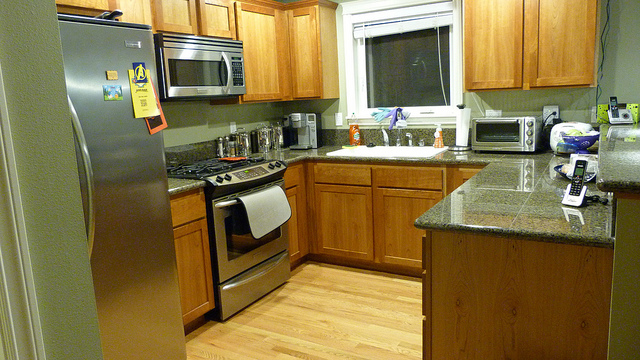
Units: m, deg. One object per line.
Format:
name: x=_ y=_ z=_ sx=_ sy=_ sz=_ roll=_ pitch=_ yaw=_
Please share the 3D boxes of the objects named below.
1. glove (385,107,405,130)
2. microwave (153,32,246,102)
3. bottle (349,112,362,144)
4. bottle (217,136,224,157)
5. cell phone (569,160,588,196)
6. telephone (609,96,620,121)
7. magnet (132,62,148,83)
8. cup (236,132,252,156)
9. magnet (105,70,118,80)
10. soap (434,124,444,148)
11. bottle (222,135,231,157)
glove: x=0.789 y=-0.641 z=4.487 sx=0.202 sy=0.198 sz=0.087 roll=-13 pitch=-8 yaw=11
microwave: x=-1.019 y=-0.950 z=3.633 sx=0.613 sy=0.529 sz=0.954 roll=8 pitch=12 yaw=36
bottle: x=0.385 y=-0.566 z=4.688 sx=0.129 sy=0.343 sz=0.188 roll=-4 pitch=14 yaw=5
bottle: x=-0.993 y=-0.328 z=4.240 sx=0.069 sy=0.183 sz=0.107 roll=-5 pitch=14 yaw=-2
cell phone: x=1.468 y=-0.018 z=2.433 sx=0.071 sy=0.179 sz=0.152 roll=5 pitch=16 yaw=34
telephone: x=2.590 y=-0.625 z=3.757 sx=0.075 sy=0.200 sz=0.086 roll=0 pitch=15 yaw=20
magnet: x=-1.140 y=-0.681 z=2.707 sx=0.032 sy=0.125 sz=0.092 roll=4 pitch=16 yaw=33
cup: x=-0.790 y=-0.373 z=4.358 sx=0.127 sy=0.221 sz=0.106 roll=-3 pitch=14 yaw=6
magnet: x=-1.259 y=-0.637 z=2.585 sx=0.019 sy=0.057 sz=0.069 roll=5 pitch=16 yaw=33
soap: x=1.204 y=-0.450 z=4.313 sx=0.084 sy=0.215 sz=0.212 roll=-1 pitch=14 yaw=16
bottle: x=-0.934 y=-0.331 z=4.258 sx=0.071 sy=0.182 sz=0.113 roll=-8 pitch=14 yaw=-11
